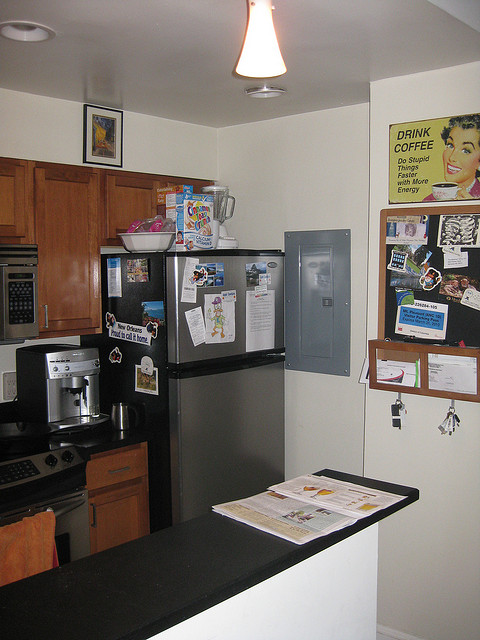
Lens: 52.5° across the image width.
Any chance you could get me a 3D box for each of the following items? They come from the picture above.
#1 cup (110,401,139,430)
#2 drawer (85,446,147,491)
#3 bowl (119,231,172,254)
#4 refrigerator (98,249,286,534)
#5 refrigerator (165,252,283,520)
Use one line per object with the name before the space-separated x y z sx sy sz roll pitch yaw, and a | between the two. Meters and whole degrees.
cup | -0.609 0.504 2.554 0.079 0.136 0.135 -5 -4 34
drawer | -0.601 0.726 2.385 0.028 0.150 0.341 -5 -4 44
bowl | -0.480 -0.375 2.459 0.272 0.137 0.111 -5 -4 25
refrigerator | -0.282 0.279 2.858 0.851 1.735 0.778 -7 12 -44
refrigerator | -0.091 0.309 2.846 0.648 1.660 0.544 -8 25 -18
